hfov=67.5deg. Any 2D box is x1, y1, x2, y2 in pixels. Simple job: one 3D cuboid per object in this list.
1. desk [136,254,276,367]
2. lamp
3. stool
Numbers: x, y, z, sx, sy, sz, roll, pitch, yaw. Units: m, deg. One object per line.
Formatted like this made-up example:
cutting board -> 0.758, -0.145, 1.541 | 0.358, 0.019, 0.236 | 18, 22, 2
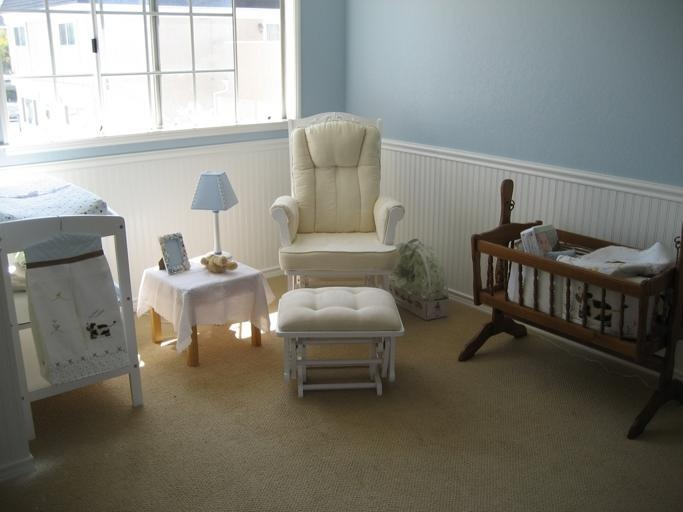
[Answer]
desk -> -0.839, 0.319, 3.250 | 0.827, 0.516, 0.534 | -13, 22, -24
lamp -> -0.834, -0.269, 3.378 | 0.295, 0.535, 0.303 | 14, 21, 40
stool -> -0.007, 0.321, 2.948 | 0.713, 0.580, 0.568 | -2, 28, -2
